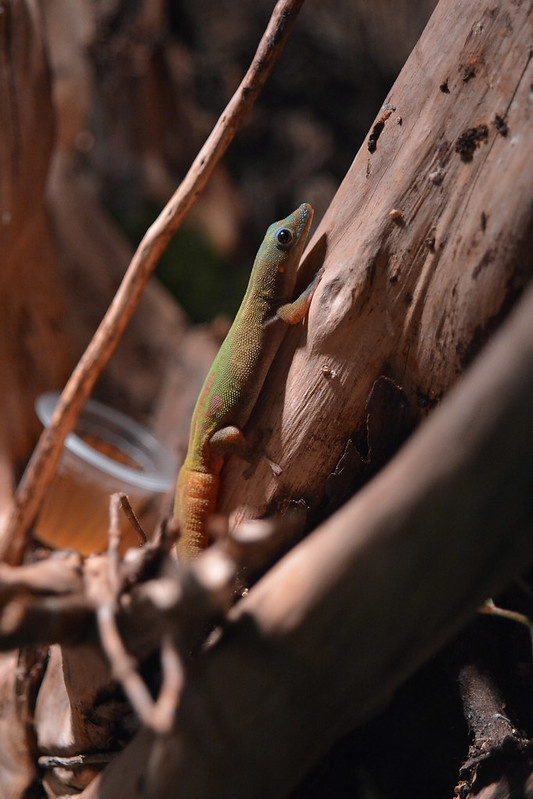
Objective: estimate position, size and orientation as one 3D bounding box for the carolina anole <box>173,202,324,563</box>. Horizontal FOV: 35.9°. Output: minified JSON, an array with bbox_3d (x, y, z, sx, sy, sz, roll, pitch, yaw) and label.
[{"bbox_3d":[0.031,-0.055,1.123,0.077,0.536,0.134,25,-6,-22],"label":"carolina anole"}]
